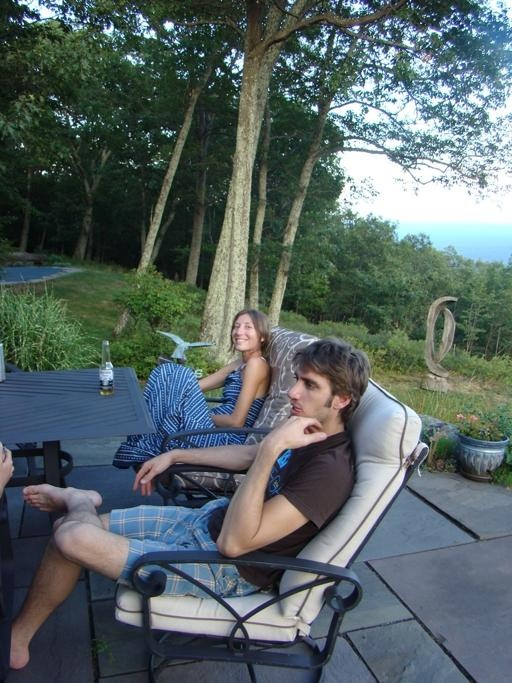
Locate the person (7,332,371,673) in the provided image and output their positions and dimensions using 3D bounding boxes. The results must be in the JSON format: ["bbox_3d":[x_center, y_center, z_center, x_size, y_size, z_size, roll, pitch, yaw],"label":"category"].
[{"bbox_3d":[-0.118,0.451,2.050,1.501,1.143,0.794,4,16,-2],"label":"person"}]

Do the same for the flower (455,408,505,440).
[{"bbox_3d":[1.784,0.638,4.027,0.269,0.108,0.241,5,2,-17],"label":"flower"}]

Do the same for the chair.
[{"bbox_3d":[0.052,0.668,1.990,0.926,1.060,1.113,4,9,-2],"label":"chair"}]

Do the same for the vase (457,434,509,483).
[{"bbox_3d":[1.624,0.836,3.836,0.335,0.280,0.342,12,-9,-2],"label":"vase"}]
